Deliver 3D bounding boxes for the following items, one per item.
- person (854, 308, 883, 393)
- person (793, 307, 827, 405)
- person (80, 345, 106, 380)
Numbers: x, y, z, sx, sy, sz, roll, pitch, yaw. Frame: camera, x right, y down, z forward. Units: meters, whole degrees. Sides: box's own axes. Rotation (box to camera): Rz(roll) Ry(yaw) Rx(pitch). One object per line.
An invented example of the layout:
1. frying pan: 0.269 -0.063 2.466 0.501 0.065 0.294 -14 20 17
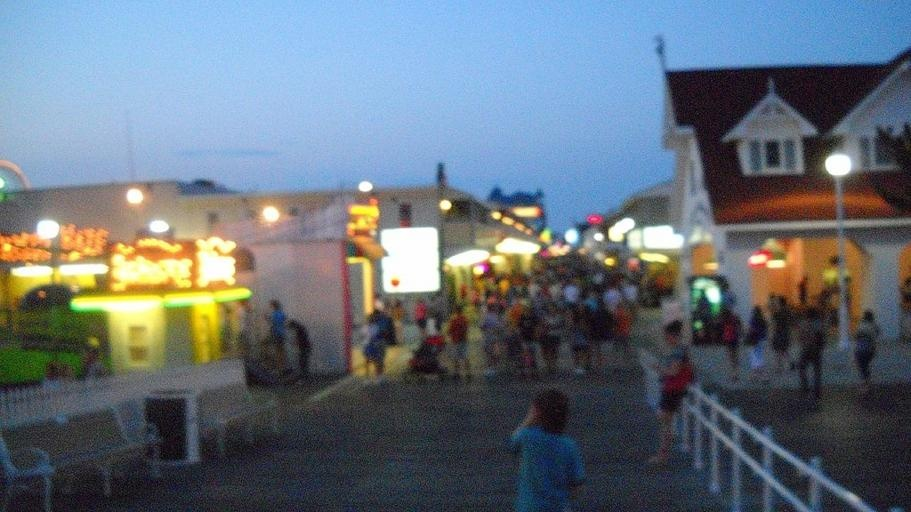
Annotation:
1. person: 11.707 2.759 24.961 0.552 2.350 0.793 -2 -1 34
2. person: 10.051 2.774 24.791 0.673 2.566 0.901 -2 -1 21
3. person: -9.474 2.778 22.858 0.475 0.787 1.218 -1 -1 -23
